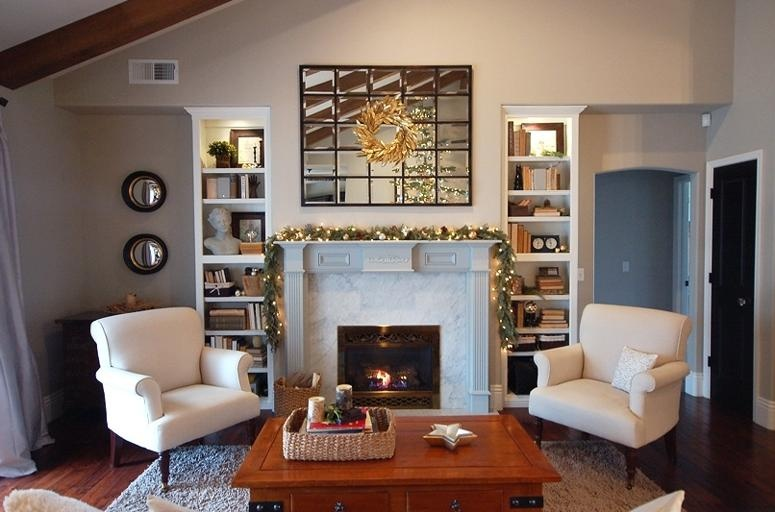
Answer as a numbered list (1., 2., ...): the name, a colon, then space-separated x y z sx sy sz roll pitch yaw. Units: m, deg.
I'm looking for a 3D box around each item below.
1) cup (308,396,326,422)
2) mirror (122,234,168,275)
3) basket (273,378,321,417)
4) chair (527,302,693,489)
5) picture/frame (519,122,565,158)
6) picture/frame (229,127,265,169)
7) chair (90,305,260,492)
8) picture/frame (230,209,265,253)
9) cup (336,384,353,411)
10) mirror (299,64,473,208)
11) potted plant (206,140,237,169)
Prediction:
1. cup: -0.615 1.340 5.465 0.183 0.203 0.180 1 -5 0
2. mirror: -2.901 -0.024 7.379 0.465 0.486 0.064 1 0 -3
3. basket: -1.025 1.565 6.851 0.487 0.487 0.394 21 -15 -41
4. chair: 2.282 1.318 6.330 1.271 1.564 1.296 -1 5 -37
5. picture/frame: 1.839 -1.362 7.381 0.424 0.387 0.152 0 -3 0
6. picture/frame: -1.671 -1.261 7.393 0.491 0.584 0.042 -1 -5 -3
7. chair: -2.136 1.304 6.315 1.215 1.524 1.271 1 5 33
8. picture/frame: -1.635 -0.272 7.392 0.378 0.510 0.035 1 -27 -19
9. cup: -0.366 1.243 5.557 0.191 0.311 0.203 0 2 0
10. mirror: -0.077 -1.413 7.118 1.576 1.304 0.129 0 1 -2
11. potted plant: -1.926 -1.190 7.266 0.348 0.363 0.293 0 -2 -10
